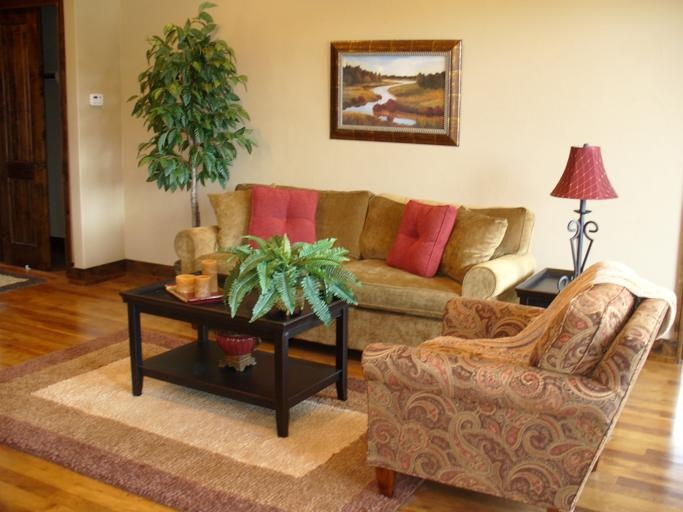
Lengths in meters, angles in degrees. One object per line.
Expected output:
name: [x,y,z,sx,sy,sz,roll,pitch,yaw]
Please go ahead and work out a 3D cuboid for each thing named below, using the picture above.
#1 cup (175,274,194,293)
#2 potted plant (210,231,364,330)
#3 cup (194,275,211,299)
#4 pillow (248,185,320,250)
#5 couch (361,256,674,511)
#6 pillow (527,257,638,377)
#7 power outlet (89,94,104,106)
cup: [-0.909,0.161,3.261,0.109,0.081,0.106,-1,-2,0]
potted plant: [-0.241,0.092,2.981,0.605,0.299,0.586,-5,14,-37]
cup: [-0.806,0.182,3.262,0.119,0.123,0.108,0,5,-7]
pillow: [-0.483,-0.322,4.566,0.534,0.489,0.183,2,-14,0]
couch: [0.723,0.411,2.667,1.356,1.119,1.039,7,14,32]
pillow: [0.927,0.274,2.163,0.427,0.237,0.145,-39,6,-16]
power outlet: [-2.414,-1.543,5.419,0.020,0.103,0.153,7,9,35]
